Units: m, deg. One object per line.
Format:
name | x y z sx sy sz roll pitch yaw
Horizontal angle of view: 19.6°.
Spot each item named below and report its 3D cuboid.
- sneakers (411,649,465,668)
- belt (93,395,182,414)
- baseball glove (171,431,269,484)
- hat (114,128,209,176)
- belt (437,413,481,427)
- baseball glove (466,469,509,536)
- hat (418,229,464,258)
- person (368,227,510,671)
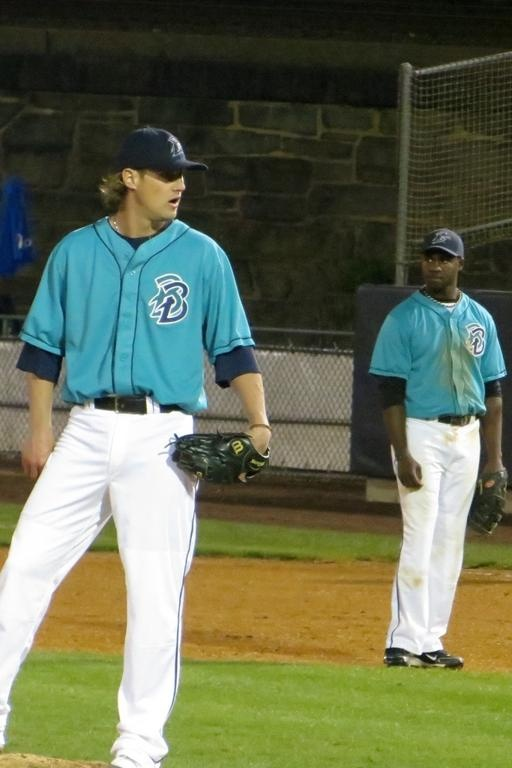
sneakers | 0.781 1.153 6.305 0.200 0.083 0.078 0 3 -2
belt | -0.397 0.065 4.887 0.283 0.064 0.054 0 2 -6
baseball glove | -0.118 0.237 4.890 0.313 0.138 0.177 15 40 -2
hat | -0.333 -0.772 4.966 0.243 0.131 0.156 2 16 24
belt | 0.876 0.154 6.371 0.219 0.049 0.066 -1 3 -42
baseball glove | 1.042 0.533 6.653 0.175 0.285 0.094 17 15 13
hat | 0.841 -0.622 6.588 0.120 0.098 0.174 9 -10 17
person | 0.814 0.262 6.436 0.652 1.885 0.406 0 2 -23
